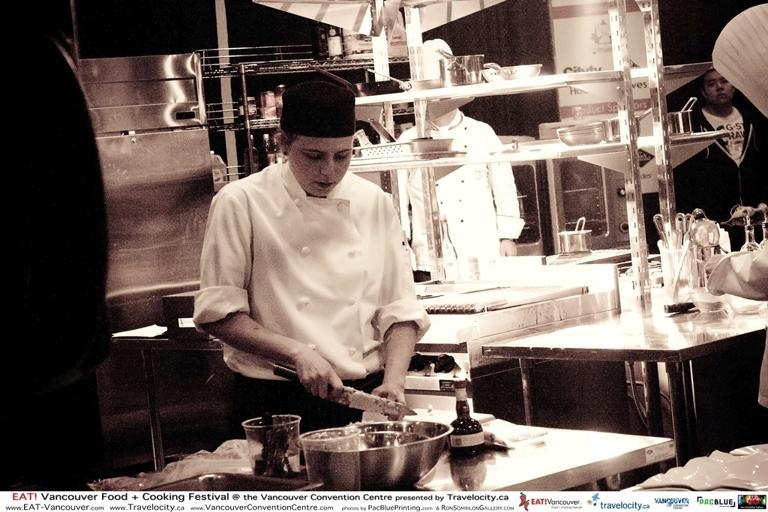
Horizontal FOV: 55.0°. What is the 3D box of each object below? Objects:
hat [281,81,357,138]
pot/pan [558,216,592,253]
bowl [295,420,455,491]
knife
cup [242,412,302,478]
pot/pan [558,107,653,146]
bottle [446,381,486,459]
[{"bbox_3d":[-0.173,-0.382,1.960,0.179,0.095,0.168,0,7,-4],"label":"hat"},{"bbox_3d":[1.040,-0.073,4.036,0.173,0.126,0.097,-4,7,-1],"label":"pot/pan"},{"bbox_3d":[-0.017,0.412,1.507,0.200,0.064,0.190,-3,-1,0],"label":"bowl"},{"bbox_3d":[-0.089,0.326,1.762,0.327,0.160,0.163,-5,7,-12],"label":"knife"},{"bbox_3d":[-0.223,0.385,1.513,0.125,0.092,0.130,-1,-5,0],"label":"cup"},{"bbox_3d":[1.000,-0.622,3.438,0.452,0.147,0.202,-1,-1,-28],"label":"pot/pan"},{"bbox_3d":[0.196,0.377,1.802,0.086,0.197,0.201,-3,7,7],"label":"bottle"}]
